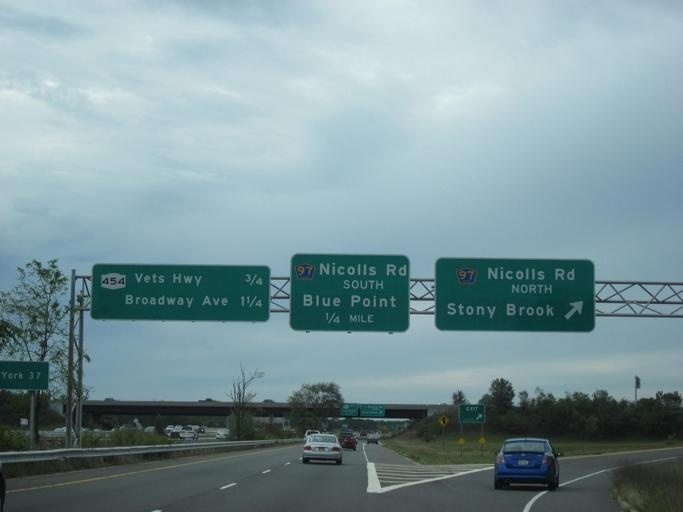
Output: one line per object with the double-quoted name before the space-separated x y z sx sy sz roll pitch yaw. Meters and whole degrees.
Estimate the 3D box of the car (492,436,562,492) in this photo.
"car" 8.850 9.785 46.208 2.522 2.582 4.848 -2 -11 16

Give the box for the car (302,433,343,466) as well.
"car" -1.173 11.235 56.774 2.166 1.770 1.401 0 -9 -7
